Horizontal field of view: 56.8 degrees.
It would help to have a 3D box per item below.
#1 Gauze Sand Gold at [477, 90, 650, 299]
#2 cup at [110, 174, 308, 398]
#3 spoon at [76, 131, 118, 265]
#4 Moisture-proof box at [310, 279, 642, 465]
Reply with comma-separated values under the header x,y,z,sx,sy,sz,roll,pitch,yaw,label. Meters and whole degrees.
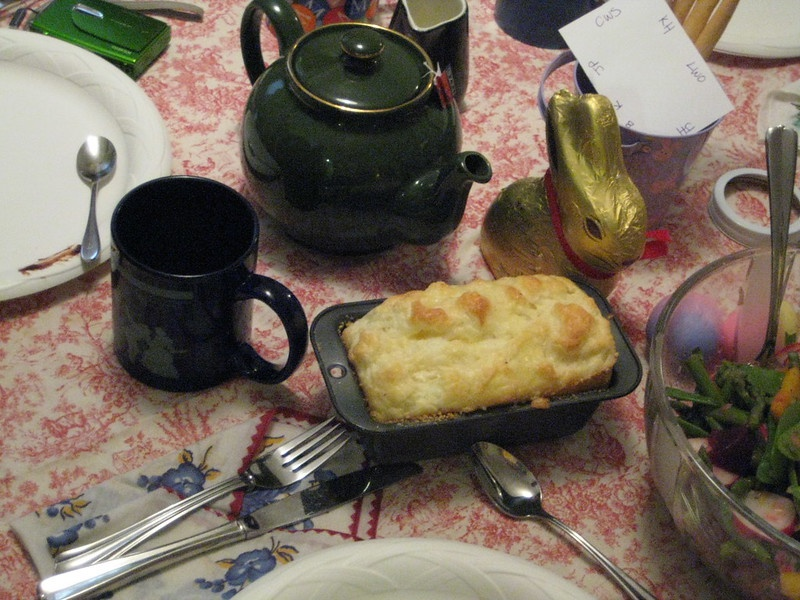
x,y,z,sx,sy,sz,roll,pitch,yaw,label
0.195,-0.114,0.868,0.096,0.241,0.180,-31,65,-20,Gauze Sand Gold
-0.193,-0.014,0.781,0.185,0.159,0.171,3,57,-5,cup
-0.362,-0.134,0.896,0.039,0.029,0.204,2,56,-16,spoon
0.065,0.060,0.853,0.340,0.167,0.284,-6,29,-7,Moisture-proof box
